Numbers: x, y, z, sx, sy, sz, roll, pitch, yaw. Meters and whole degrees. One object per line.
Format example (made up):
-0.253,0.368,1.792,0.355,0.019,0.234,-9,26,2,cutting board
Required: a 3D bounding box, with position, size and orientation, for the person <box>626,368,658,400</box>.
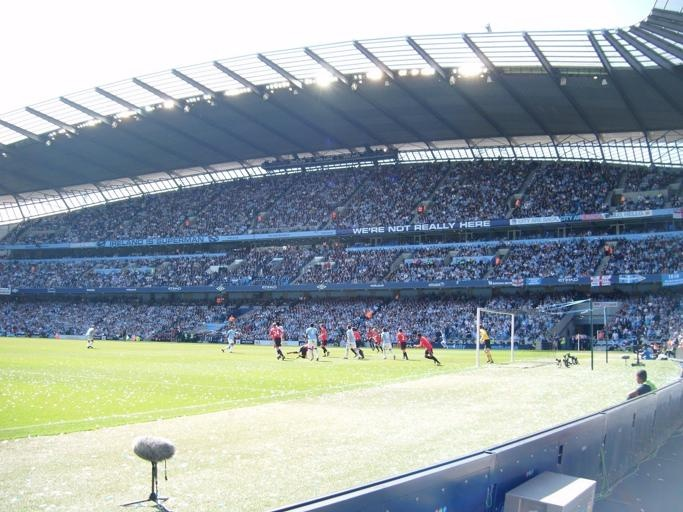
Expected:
15.262,6.560,44.731,2.125,1.241,0.916,2,-5,-35,person
